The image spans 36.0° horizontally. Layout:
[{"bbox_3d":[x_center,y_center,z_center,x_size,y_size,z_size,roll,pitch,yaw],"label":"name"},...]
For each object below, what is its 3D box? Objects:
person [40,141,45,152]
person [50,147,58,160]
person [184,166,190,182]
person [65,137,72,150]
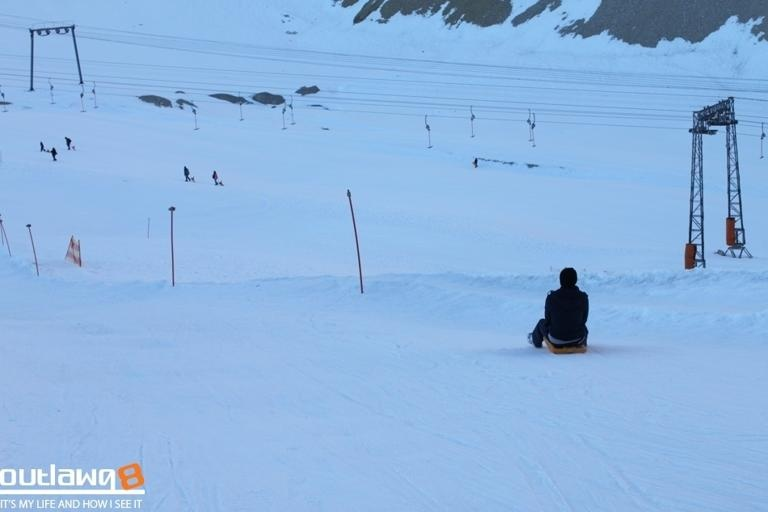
[{"bbox_3d":[-30.744,-9.858,105.505,0.354,0.270,0.977,9,23,-16],"label":"person"},{"bbox_3d":[-29.200,-9.095,103.930,0.649,1.109,2.621,0,9,-17],"label":"person"},{"bbox_3d":[-17.401,-7.306,103.661,0.598,1.264,2.693,1,9,-11],"label":"person"},{"bbox_3d":[-28.676,-10.210,106.418,0.652,1.681,1.062,3,6,-14],"label":"person"}]
